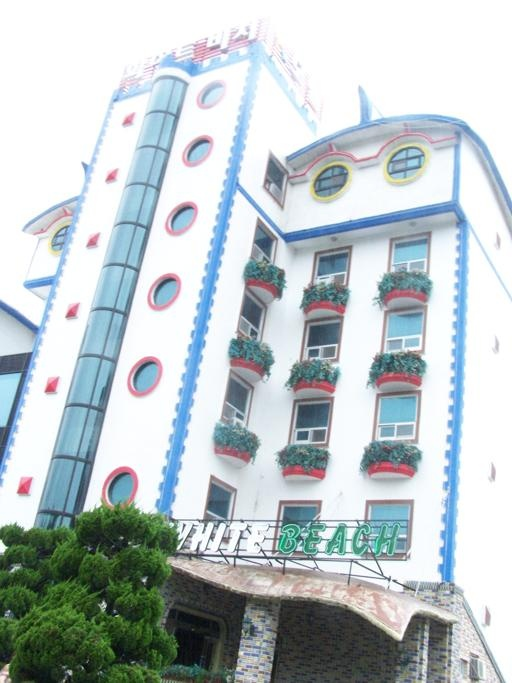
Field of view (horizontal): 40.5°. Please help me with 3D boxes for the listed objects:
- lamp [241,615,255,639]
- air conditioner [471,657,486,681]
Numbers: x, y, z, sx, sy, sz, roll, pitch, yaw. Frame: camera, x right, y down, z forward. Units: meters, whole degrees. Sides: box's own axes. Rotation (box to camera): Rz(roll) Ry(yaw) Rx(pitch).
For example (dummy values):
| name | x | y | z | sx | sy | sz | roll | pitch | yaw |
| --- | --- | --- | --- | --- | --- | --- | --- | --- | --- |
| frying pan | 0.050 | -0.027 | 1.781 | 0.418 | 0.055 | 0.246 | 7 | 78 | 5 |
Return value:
| name | x | y | z | sx | sy | sz | roll | pitch | yaw |
| --- | --- | --- | --- | --- | --- | --- | --- | --- | --- |
| lamp | -0.138 | 7.037 | 16.867 | 0.103 | 0.372 | 0.423 | 8 | -2 | -38 |
| air conditioner | 6.168 | 9.302 | 19.534 | 0.219 | 0.604 | 0.777 | -6 | -33 | 32 |
